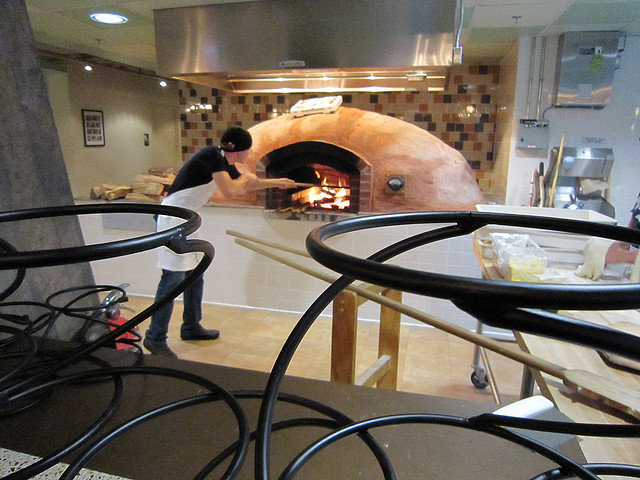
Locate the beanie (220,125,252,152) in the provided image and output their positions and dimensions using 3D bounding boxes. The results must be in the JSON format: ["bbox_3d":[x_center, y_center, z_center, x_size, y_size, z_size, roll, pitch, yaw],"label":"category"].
[{"bbox_3d":[-0.553,-0.682,2.988,0.182,0.128,0.176,2,16,-6],"label":"beanie"}]

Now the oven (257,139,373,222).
[{"bbox_3d":[-0.014,-0.479,3.561,0.963,0.634,0.491,-1,10,12],"label":"oven"}]

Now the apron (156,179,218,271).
[{"bbox_3d":[-0.895,-0.121,2.995,0.361,0.585,1.061,2,8,-20],"label":"apron"}]
